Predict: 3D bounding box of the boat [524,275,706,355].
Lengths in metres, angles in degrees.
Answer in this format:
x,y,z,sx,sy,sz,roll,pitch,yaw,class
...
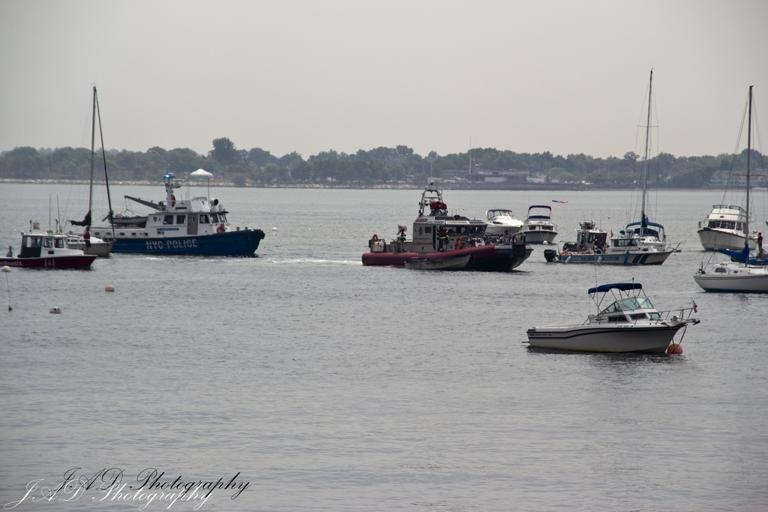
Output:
x,y,z,sx,sy,sz,roll,pitch,yaw,class
12.877,4.763,107.107,15.639,5.590,4.624,-3,1,25,boat
